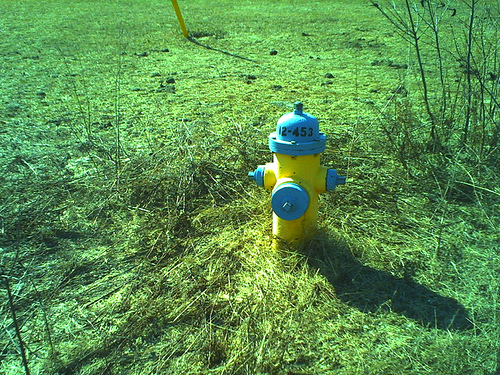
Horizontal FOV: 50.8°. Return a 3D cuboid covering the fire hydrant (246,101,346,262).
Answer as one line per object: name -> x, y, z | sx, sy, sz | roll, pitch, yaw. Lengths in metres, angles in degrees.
fire hydrant -> 0.372, -0.085, 4.120 | 0.752, 1.156, 0.623 | -17, 28, -11
